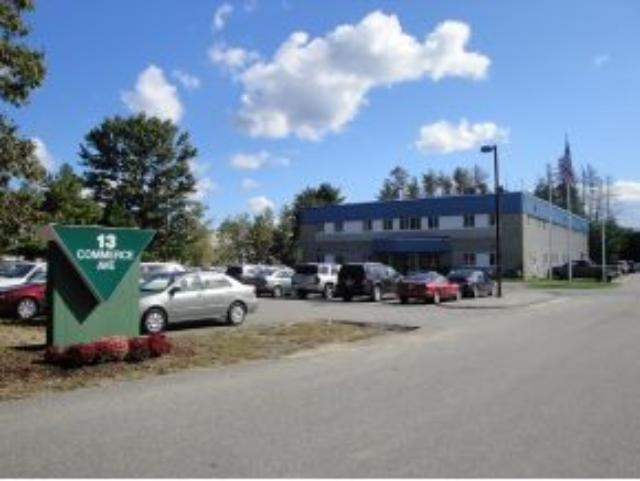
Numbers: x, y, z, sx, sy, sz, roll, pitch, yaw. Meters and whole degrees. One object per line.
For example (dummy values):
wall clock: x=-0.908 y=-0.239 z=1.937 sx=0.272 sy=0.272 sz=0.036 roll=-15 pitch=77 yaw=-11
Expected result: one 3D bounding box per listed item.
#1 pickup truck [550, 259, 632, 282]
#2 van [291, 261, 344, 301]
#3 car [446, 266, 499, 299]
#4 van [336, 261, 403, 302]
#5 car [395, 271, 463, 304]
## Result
pickup truck: x=21.566 y=2.455 z=48.923 sx=4.696 sy=1.638 sz=4.620 roll=1 pitch=2 yaw=17
van: x=-0.305 y=1.975 z=30.125 sx=1.325 sy=1.325 sz=2.536 roll=-1 pitch=2 yaw=26
car: x=8.336 y=2.278 z=32.578 sx=1.499 sy=1.089 sz=3.084 roll=1 pitch=2 yaw=38
van: x=2.353 y=1.845 z=28.339 sx=1.459 sy=1.287 sz=2.947 roll=-1 pitch=3 yaw=38
car: x=4.981 y=2.114 z=27.007 sx=1.327 sy=1.042 sz=2.851 roll=0 pitch=0 yaw=37
